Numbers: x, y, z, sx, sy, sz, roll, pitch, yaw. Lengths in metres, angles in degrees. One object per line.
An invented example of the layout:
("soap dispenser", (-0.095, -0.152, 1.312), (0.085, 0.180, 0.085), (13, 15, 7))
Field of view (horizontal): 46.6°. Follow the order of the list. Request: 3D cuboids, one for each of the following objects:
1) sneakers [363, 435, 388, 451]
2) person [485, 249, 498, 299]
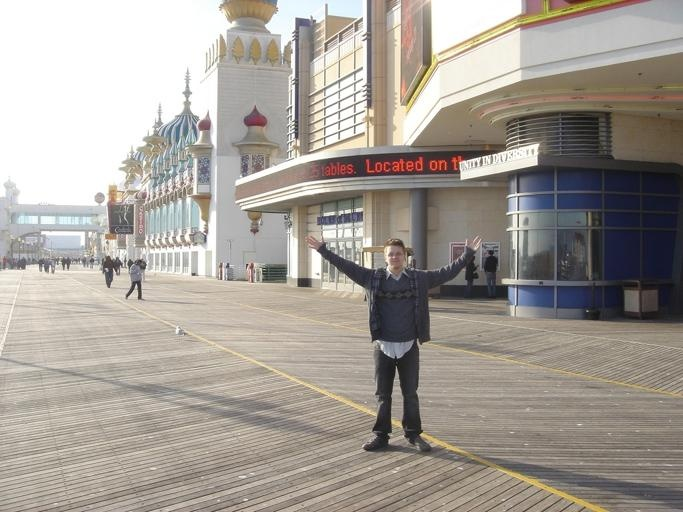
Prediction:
("sneakers", (0.441, 2.323, 9.896), (0.328, 0.134, 0.150), (1, 2, -16))
("person", (5.302, 0.592, 28.132), (0.465, 1.596, 1.067), (1, 0, 11))
